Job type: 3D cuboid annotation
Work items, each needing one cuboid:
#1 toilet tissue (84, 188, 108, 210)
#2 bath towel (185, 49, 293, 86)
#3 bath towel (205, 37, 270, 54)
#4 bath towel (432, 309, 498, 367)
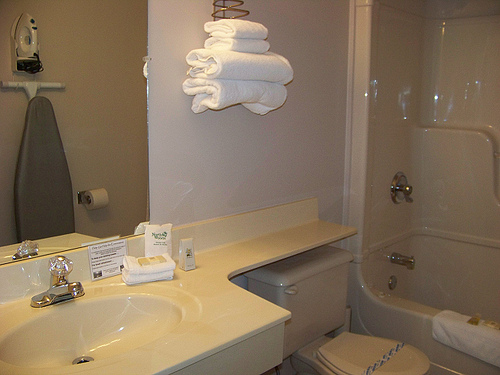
[{"bbox_3d":[-0.588,0.042,1.544,0.073,0.073,0.087,5,7,23],"label":"toilet tissue"},{"bbox_3d":[0.010,-0.462,1.650,0.530,0.146,0.404,-6,17,-36],"label":"bath towel"},{"bbox_3d":[-0.047,-0.572,1.597,0.346,0.062,0.249,-13,22,-41],"label":"bath towel"},{"bbox_3d":[1.111,0.749,2.027,0.120,0.156,0.304,-13,14,-42],"label":"bath towel"}]
